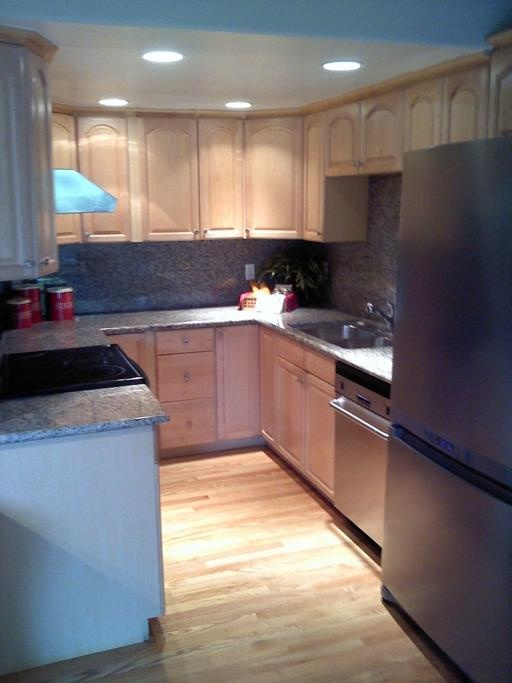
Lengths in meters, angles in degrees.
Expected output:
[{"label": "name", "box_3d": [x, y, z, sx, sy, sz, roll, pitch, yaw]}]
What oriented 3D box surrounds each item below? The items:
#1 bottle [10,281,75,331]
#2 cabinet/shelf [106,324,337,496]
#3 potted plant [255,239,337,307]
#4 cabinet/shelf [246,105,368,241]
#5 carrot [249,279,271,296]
[{"label": "bottle", "box_3d": [-1.235, -0.212, 3.136, 0.203, 0.218, 0.356, 16, 21, 41]}, {"label": "cabinet/shelf", "box_3d": [-0.128, 0.323, 2.931, 0.966, 0.598, 0.999, -4, 12, -17]}, {"label": "potted plant", "box_3d": [0.385, -0.487, 3.781, 0.350, 0.362, 0.353, -10, 5, -30]}, {"label": "cabinet/shelf", "box_3d": [0.304, -1.001, 3.182, 0.372, 1.075, 0.649, -12, 16, -43]}, {"label": "carrot", "box_3d": [0.013, -0.373, 3.807, 0.103, 0.111, 0.339, 4, 13, 10]}]
